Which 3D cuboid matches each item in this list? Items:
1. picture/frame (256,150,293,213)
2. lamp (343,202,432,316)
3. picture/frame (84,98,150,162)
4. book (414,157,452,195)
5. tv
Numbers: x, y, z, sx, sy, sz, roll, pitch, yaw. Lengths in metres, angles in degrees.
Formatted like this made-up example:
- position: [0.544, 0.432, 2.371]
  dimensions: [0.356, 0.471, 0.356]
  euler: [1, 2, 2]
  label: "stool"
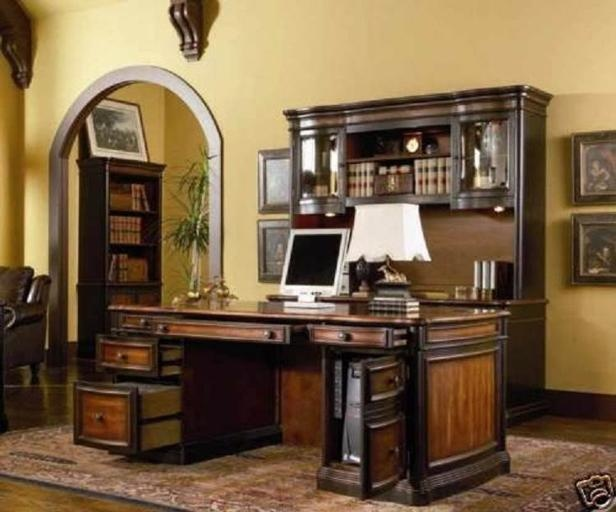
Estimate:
- position: [-0.312, -0.726, 5.798]
  dimensions: [0.635, 0.734, 0.059]
  euler: [1, -1, 38]
  label: "picture/frame"
- position: [0.438, 0.005, 3.046]
  dimensions: [0.404, 0.544, 0.613]
  euler: [-1, 1, 28]
  label: "lamp"
- position: [-2.509, -1.630, 7.738]
  dimensions: [0.075, 0.878, 0.972]
  euler: [-11, -6, 37]
  label: "picture/frame"
- position: [1.008, -0.650, 4.821]
  dimensions: [0.260, 0.359, 0.358]
  euler: [-1, 0, 5]
  label: "book"
- position: [0.063, 0.043, 3.671]
  dimensions: [0.509, 0.511, 0.402]
  euler: [0, -4, 35]
  label: "tv"
